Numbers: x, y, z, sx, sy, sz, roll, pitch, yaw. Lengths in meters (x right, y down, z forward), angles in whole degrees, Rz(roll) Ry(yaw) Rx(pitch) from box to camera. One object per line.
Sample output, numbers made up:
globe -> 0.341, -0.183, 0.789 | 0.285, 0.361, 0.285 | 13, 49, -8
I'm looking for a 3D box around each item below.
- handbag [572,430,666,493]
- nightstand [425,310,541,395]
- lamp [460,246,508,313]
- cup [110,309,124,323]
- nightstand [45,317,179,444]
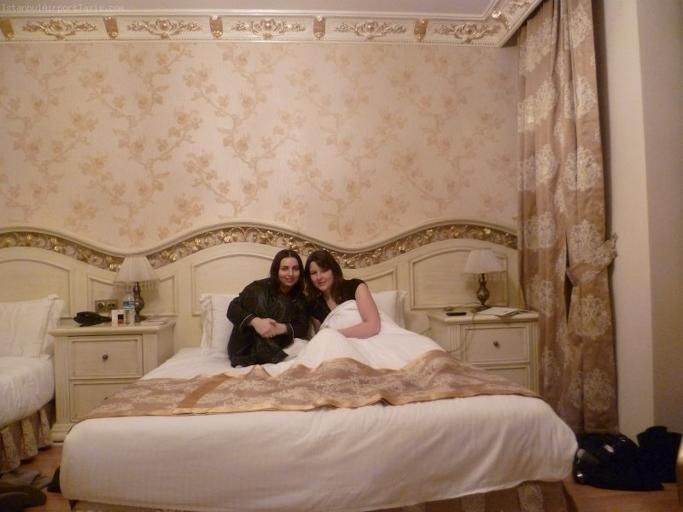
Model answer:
handbag -> 1.654, 1.270, 3.309 | 0.367, 0.142, 0.382 | 0, 11, 10
nightstand -> 1.107, 0.659, 4.348 | 0.681, 0.901, 0.610 | -1, -1, -9
lamp -> 1.251, 0.194, 4.569 | 0.437, 0.642, 0.488 | -1, 0, 34
cup -> -1.725, 0.472, 4.188 | 0.088, 0.128, 0.124 | -2, -3, 2
nightstand -> -1.727, 0.992, 4.412 | 0.952, 1.021, 0.765 | 0, -2, -3
